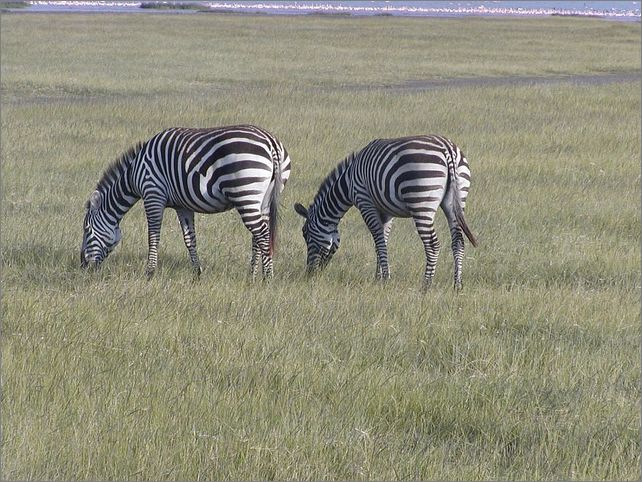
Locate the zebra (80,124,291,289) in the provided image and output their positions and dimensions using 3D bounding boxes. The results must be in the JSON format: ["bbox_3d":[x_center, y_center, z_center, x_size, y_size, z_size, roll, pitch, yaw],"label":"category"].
[{"bbox_3d":[-3.105,-0.703,23.870,5.313,3.221,1.710,-1,1,25],"label":"zebra"}]
